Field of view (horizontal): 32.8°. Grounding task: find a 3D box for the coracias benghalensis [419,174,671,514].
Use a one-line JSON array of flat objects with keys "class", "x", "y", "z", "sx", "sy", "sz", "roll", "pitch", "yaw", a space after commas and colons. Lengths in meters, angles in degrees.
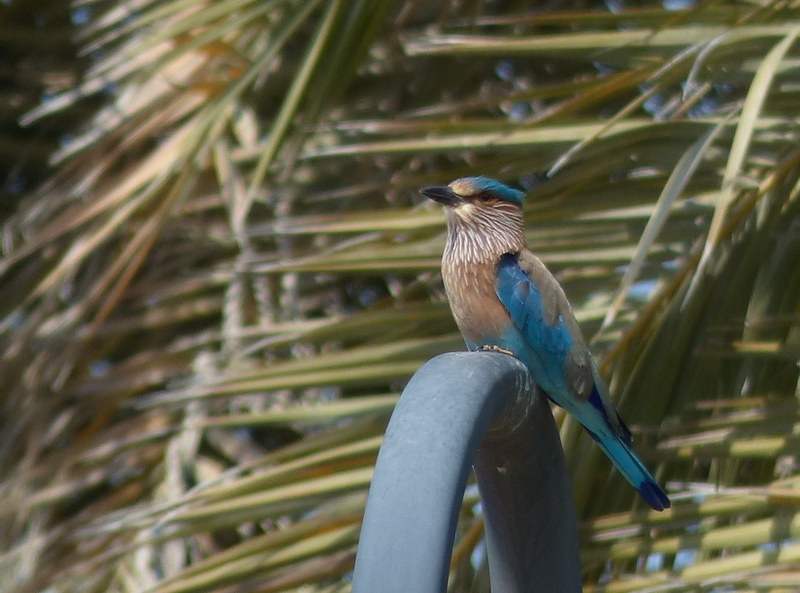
[{"class": "coracias benghalensis", "x": 0.554, "y": 0.178, "z": 5.244, "sx": 1.271, "sy": 1.175, "sz": 0.412, "roll": 8, "pitch": -8, "yaw": -35}]
